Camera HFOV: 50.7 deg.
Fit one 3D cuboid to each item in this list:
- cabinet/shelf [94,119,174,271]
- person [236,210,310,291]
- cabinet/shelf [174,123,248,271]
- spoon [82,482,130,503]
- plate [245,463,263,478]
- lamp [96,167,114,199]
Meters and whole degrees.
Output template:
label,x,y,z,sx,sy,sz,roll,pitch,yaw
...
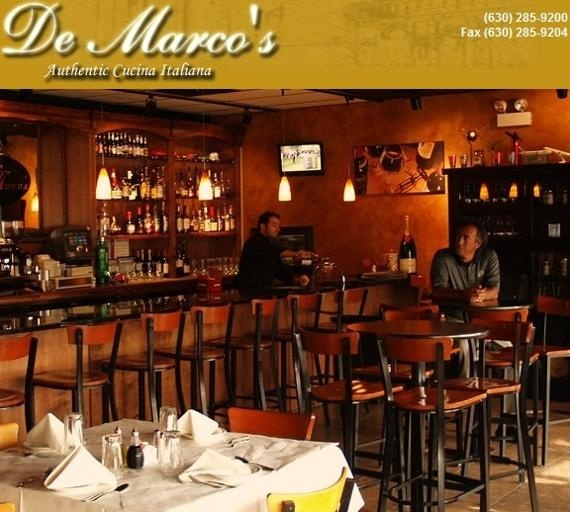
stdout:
label,x,y,z,sx,sy,sz,roll,pitch,yaw
cabinet/shelf,-2.026,-0.591,8.192,0.946,1.657,0.400,-2,9,-30
person,-0.129,0.190,6.869,0.774,1.326,0.615,6,17,1
cabinet/shelf,-1.206,-0.867,9.042,0.903,1.874,0.441,3,-21,-15
spoon,-0.532,0.710,1.803,0.112,0.017,0.029,-14,21,-42
plate,-0.102,0.699,1.986,0.048,0.031,0.146,-1,-1,-3
lamp,-2.055,-0.823,6.805,0.151,0.351,0.306,-1,0,-18
